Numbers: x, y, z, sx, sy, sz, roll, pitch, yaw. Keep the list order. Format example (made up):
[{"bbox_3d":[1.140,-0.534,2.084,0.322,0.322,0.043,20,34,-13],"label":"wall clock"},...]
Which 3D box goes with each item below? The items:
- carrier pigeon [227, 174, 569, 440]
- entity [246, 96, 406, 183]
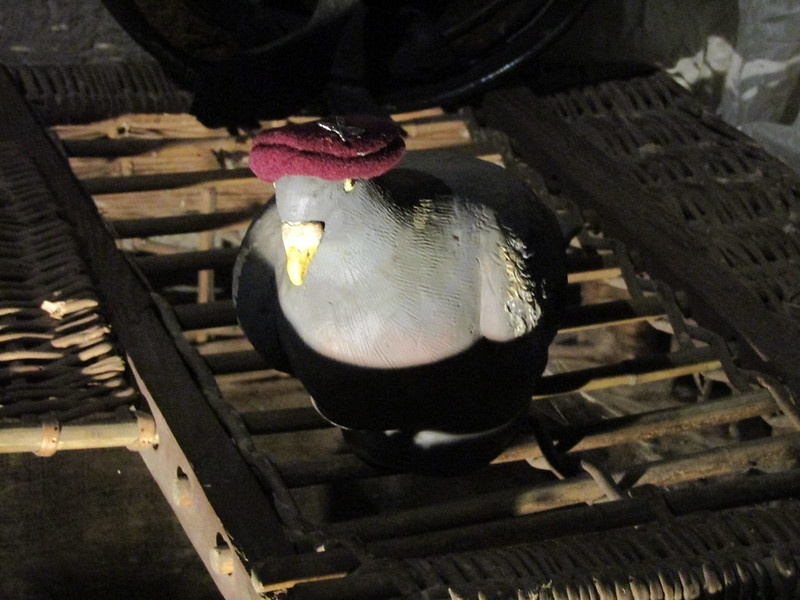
[{"bbox_3d":[0.007,0.040,2.321,0.666,0.650,0.594,-2,3,5],"label":"carrier pigeon"},{"bbox_3d":[-0.173,-0.323,2.041,0.260,0.167,0.276,11,30,23],"label":"entity"}]
